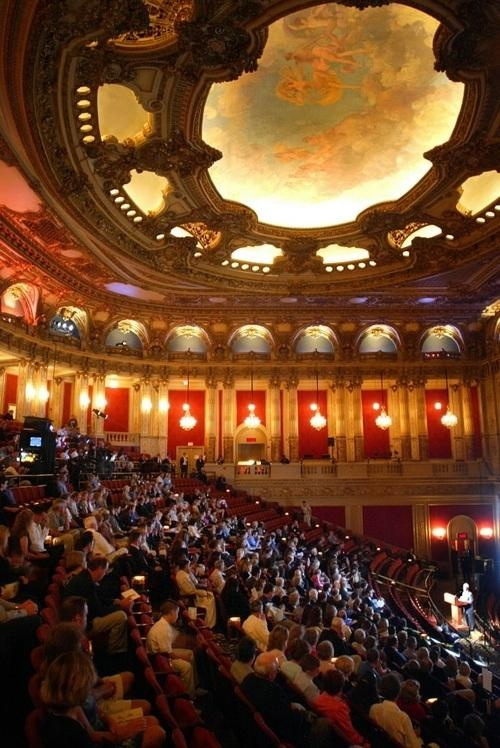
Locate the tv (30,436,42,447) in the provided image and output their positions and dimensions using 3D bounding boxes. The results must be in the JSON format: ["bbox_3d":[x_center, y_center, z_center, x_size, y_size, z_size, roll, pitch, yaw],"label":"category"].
[{"bbox_3d":[-4.914,1.555,11.405,0.137,0.233,0.263,-1,-2,44],"label":"tv"}]
